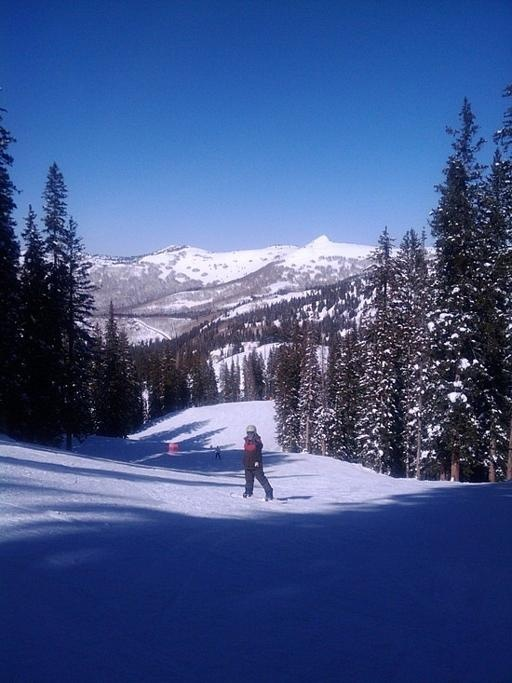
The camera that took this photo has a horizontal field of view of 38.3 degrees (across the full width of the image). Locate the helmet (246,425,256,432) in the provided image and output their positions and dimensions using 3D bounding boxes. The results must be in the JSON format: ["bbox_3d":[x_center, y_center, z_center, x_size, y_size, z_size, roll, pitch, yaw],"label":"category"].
[{"bbox_3d":[-0.095,1.609,13.582,0.114,0.170,0.159,3,-4,7],"label":"helmet"}]
